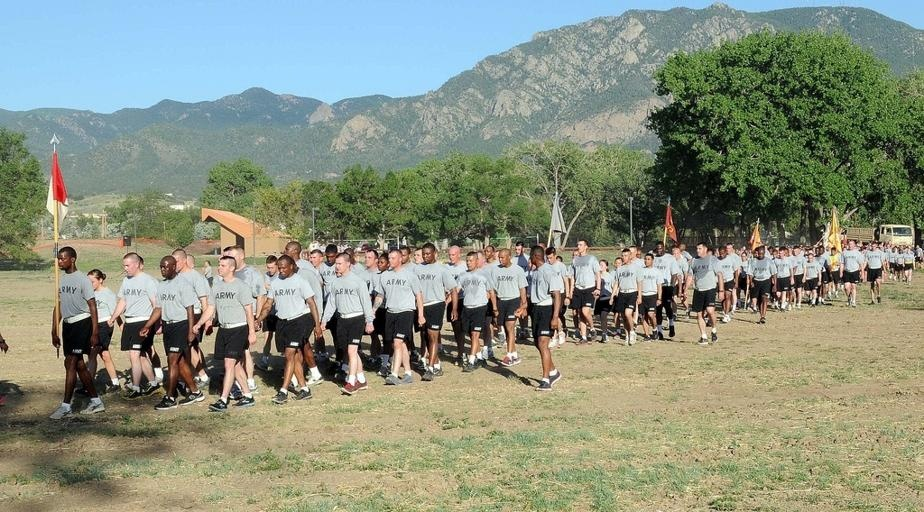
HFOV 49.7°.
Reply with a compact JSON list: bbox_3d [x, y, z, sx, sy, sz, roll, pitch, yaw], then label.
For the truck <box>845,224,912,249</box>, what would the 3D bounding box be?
[{"bbox_3d":[30.640,-1.388,73.217,2.415,1.510,4.209,0,-1,-40],"label":"truck"}]
